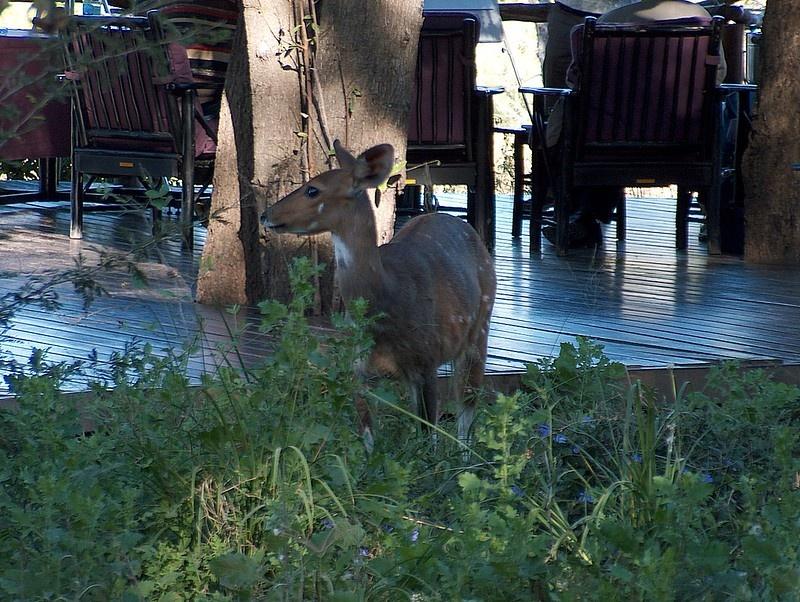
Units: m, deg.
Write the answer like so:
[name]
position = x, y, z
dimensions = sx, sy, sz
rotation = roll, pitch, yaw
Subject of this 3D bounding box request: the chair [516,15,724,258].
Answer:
[chair]
position = 1.744, -1.246, 6.061
dimensions = 1.245, 1.683, 0.976
rotation = 1, 7, -3

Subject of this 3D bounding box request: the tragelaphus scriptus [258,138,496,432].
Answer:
[tragelaphus scriptus]
position = -0.012, -0.035, 3.004
dimensions = 0.590, 1.103, 0.901
rotation = 6, 8, 34
